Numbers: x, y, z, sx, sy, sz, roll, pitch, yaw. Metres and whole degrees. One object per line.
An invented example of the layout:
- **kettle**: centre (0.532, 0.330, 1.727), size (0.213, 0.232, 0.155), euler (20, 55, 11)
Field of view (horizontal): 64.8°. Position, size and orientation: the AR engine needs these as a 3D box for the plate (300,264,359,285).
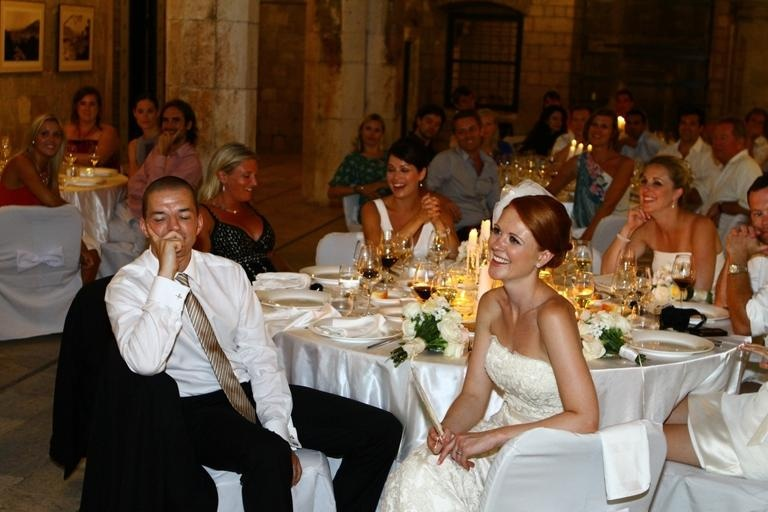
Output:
- **plate**: centre (-0.375, 0.122, 3.942), size (0.200, 0.029, 0.212), euler (6, 14, 21)
